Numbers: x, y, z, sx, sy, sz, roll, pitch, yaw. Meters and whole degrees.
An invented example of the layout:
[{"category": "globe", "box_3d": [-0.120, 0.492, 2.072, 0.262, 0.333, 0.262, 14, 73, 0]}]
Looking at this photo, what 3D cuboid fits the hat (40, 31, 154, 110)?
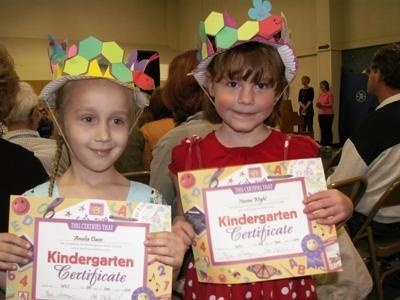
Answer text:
[{"category": "hat", "box_3d": [-0.457, -0.346, 1.449, 0.491, 0.292, 0.218, -3, 16, 2]}]
